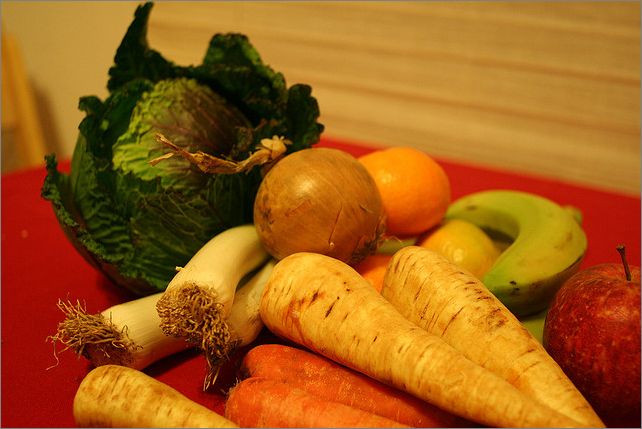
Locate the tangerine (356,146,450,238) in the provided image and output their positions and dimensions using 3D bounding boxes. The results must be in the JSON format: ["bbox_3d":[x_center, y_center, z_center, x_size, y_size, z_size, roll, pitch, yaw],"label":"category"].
[{"bbox_3d":[0.171,-0.046,1.256,0.167,0.145,0.168,1,1,-2],"label":"tangerine"}]

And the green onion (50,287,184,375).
[{"bbox_3d":[-0.380,0.223,1.131,0.225,0.098,0.122,-5,11,-31],"label":"green onion"}]

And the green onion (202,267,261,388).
[{"bbox_3d":[-0.134,0.190,1.155,0.055,0.073,0.265,5,51,35],"label":"green onion"}]

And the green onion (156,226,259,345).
[{"bbox_3d":[-0.203,0.133,1.136,0.147,0.154,0.244,15,27,5],"label":"green onion"}]
